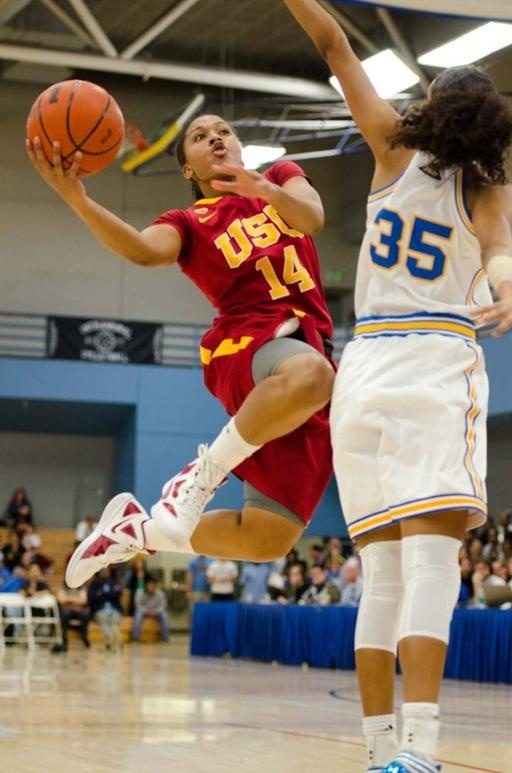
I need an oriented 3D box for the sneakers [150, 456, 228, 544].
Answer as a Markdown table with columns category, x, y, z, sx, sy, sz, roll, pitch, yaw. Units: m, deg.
| category | x | y | z | sx | sy | sz | roll | pitch | yaw |
| --- | --- | --- | --- | --- | --- | --- | --- | --- | --- |
| sneakers | -0.216 | 0.329 | 2.673 | 0.298 | 0.140 | 0.417 | -38 | 12 | 6 |
